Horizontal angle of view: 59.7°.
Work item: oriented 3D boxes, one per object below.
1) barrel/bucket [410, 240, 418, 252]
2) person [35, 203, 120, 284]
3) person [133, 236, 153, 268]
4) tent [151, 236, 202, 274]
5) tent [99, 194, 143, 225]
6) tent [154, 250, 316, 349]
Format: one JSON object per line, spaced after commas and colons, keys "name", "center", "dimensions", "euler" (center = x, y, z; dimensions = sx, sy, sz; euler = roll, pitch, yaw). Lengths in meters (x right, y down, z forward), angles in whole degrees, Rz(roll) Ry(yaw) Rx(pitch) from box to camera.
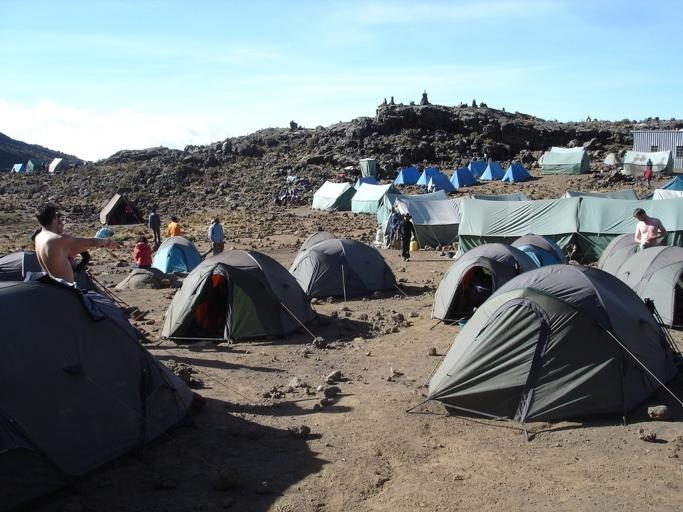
{"name": "barrel/bucket", "center": [3.013, -0.346, 24.593], "dimensions": [0.351, 0.550, 0.627], "euler": [0, -4, 10]}
{"name": "person", "center": [-3.931, -0.138, 8.534], "dimensions": [1.327, 1.150, 0.476], "euler": [8, 16, 37]}
{"name": "person", "center": [-6.252, 0.073, 18.812], "dimensions": [0.595, 1.310, 0.464], "euler": [-2, 24, -14]}
{"name": "tent", "center": [-5.698, 0.027, 20.637], "dimensions": [1.557, 0.842, 2.002], "euler": [-6, 13, -24]}
{"name": "tent", "center": [-15.601, -3.213, 41.917], "dimensions": [2.118, 1.414, 2.939], "euler": [-5, 6, -34]}
{"name": "tent", "center": [-2.317, 0.979, 14.088], "dimensions": [2.687, 1.174, 2.258], "euler": [-1, 6, 1]}
